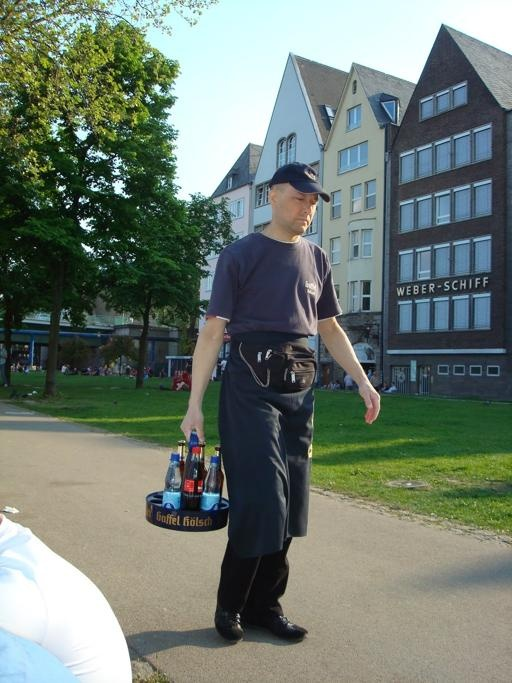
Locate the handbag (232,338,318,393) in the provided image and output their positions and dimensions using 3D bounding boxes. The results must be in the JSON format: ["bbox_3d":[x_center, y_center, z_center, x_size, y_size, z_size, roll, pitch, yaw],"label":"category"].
[{"bbox_3d":[0.071,0.108,2.618,0.290,0.157,0.279,1,-9,25],"label":"handbag"}]

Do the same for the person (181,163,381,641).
[{"bbox_3d":[0.086,0.280,2.759,0.529,2.351,0.846,-1,-4,36],"label":"person"}]

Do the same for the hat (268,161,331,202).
[{"bbox_3d":[0.191,-0.757,2.789,0.314,0.158,0.220,7,5,30],"label":"hat"}]

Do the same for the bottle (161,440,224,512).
[{"bbox_3d":[-0.280,0.587,2.568,0.266,0.322,0.171,1,-3,-4],"label":"bottle"}]
